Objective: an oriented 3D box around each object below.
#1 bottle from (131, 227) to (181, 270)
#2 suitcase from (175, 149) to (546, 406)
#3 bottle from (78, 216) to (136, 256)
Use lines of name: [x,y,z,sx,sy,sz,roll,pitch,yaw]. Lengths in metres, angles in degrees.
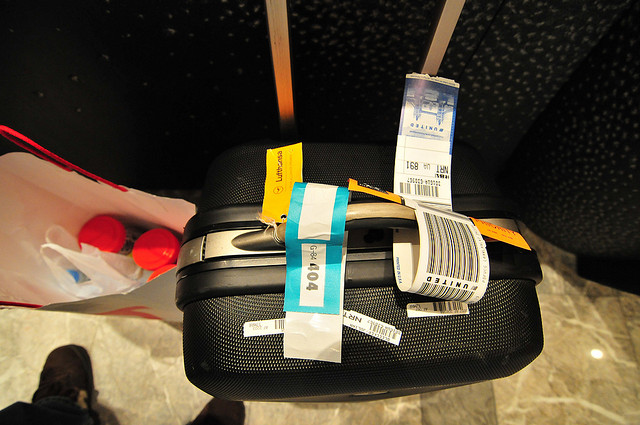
bottle: [-0.425,0.095,1.212,0.115,0.028,0.113,-1,68,1]
suitcase: [0.088,0.159,1.038,0.776,0.279,0.553,-2,86,1]
bottle: [-0.559,0.058,1.216,0.112,0.116,0.113,13,97,-7]
